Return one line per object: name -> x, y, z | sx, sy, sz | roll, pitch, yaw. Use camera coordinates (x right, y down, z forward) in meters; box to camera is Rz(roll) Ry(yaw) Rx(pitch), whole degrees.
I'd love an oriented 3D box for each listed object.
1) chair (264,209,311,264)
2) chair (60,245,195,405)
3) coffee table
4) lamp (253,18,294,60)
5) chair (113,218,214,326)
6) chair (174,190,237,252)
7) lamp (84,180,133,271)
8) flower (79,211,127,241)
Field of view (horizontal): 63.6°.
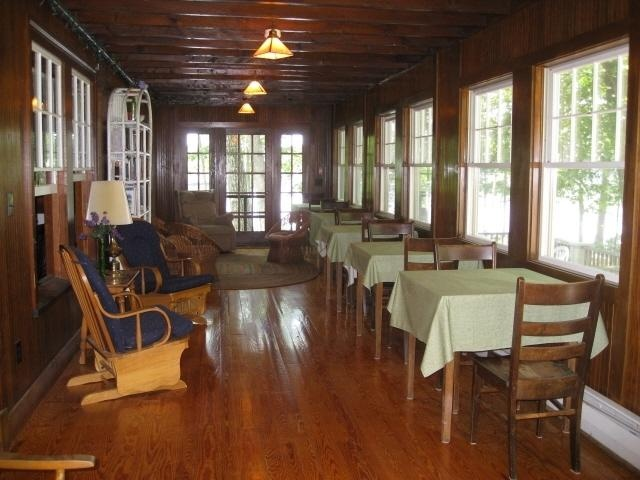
chair -> -0.528, -0.106, 9.701 | 0.894, 1.179, 1.009 | 0, 2, -29
chair -> -1.625, 0.629, 4.680 | 1.233, 1.597, 0.972 | -4, 9, -29
coffee table -> -1.999, 0.691, 4.802 | 0.561, 0.533, 0.398 | -16, -7, -26
lamp -> -0.442, -1.855, 4.831 | 0.319, 0.279, 0.235 | 9, 12, 42
chair -> -1.791, 0.390, 5.814 | 0.943, 1.093, 0.692 | 2, 6, 28
chair -> -2.427, -0.386, 10.872 | 1.215, 1.334, 1.272 | -2, 4, 1
lamp -> -2.076, -0.232, 5.114 | 0.382, 0.817, 0.393 | -8, 38, -27
flower -> -2.059, -0.120, 4.970 | 0.455, 0.289, 0.332 | -12, 26, -43
